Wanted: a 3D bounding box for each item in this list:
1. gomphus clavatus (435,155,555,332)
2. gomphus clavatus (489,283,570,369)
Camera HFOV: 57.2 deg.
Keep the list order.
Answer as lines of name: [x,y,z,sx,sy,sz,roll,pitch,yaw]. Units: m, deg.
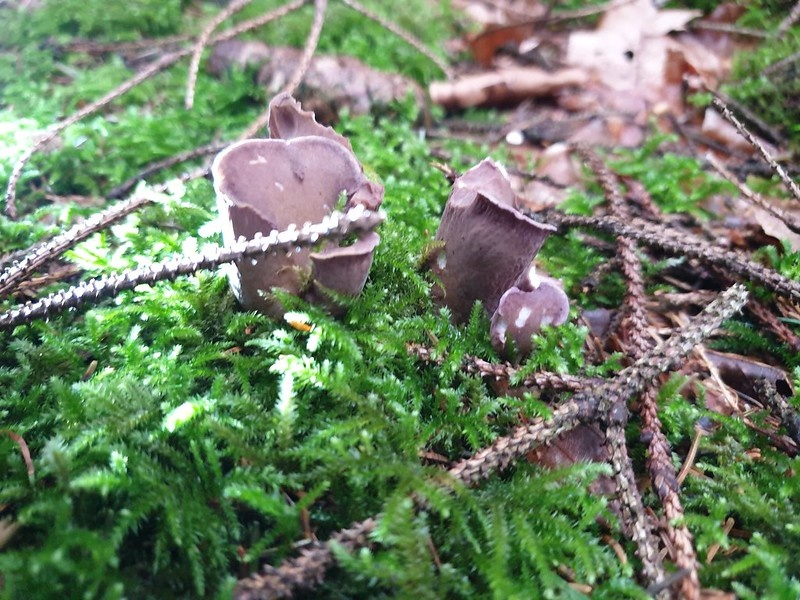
gomphus clavatus: [0.358,-0.249,3.212,0.369,0.576,0.445,-15,53,-20]
gomphus clavatus: [0.580,0.102,3.336,0.332,0.163,0.275,-30,74,-2]
